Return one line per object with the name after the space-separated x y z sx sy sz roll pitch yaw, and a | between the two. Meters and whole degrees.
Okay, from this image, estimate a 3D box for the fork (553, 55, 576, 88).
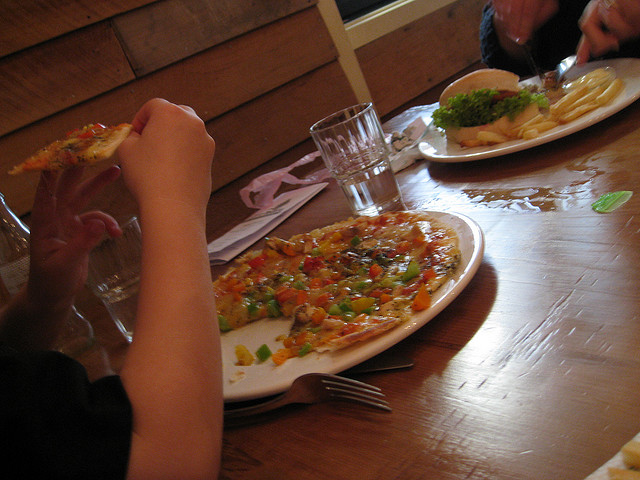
0.691 -0.481 1.408 0.085 0.029 0.232 9 34 19 | fork

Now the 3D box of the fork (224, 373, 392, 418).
-0.056 0.195 0.643 0.388 0.050 0.037 -6 81 24 | fork

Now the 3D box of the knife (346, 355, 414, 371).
0.088 0.173 0.689 0.111 0.003 0.024 -9 20 12 | knife

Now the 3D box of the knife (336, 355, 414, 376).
0.082 0.169 0.673 0.143 0.005 0.030 -7 24 13 | knife
